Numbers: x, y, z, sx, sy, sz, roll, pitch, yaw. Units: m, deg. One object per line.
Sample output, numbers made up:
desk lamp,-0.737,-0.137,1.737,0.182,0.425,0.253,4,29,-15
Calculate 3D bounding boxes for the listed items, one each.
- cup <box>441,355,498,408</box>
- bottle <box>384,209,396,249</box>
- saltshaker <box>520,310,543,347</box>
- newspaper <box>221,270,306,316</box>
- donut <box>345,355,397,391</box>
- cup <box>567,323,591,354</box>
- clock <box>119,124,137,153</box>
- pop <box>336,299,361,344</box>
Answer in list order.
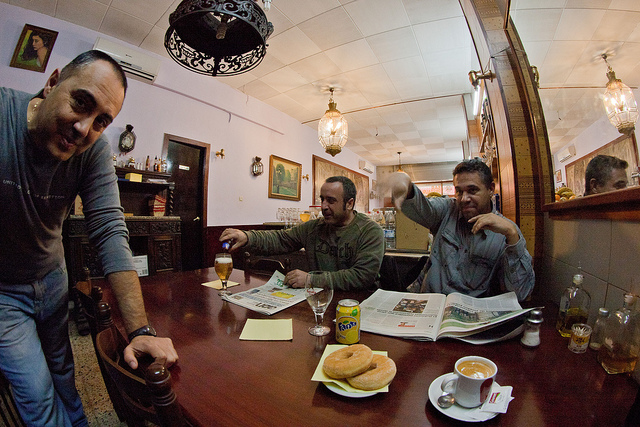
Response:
cup,0.584,0.704,1.525,0.216,0.160,0.141,0,17,-8
bottle,0.756,0.192,4.204,0.137,0.477,0.137,-3,-6,0
saltshaker,0.994,0.542,1.758,0.103,0.169,0.082,-1,1,13
newspaper,-0.279,0.480,2.267,0.425,0.083,0.495,0,2,36
donut,0.220,0.692,1.626,0.221,0.069,0.232,-5,7,6
cup,1.190,0.585,1.715,0.083,0.115,0.084,0,8,0
clock,-2.295,-0.913,4.444,0.082,0.293,0.221,1,-5,17
pop,0.134,0.538,1.800,0.114,0.194,0.112,-2,3,-30
